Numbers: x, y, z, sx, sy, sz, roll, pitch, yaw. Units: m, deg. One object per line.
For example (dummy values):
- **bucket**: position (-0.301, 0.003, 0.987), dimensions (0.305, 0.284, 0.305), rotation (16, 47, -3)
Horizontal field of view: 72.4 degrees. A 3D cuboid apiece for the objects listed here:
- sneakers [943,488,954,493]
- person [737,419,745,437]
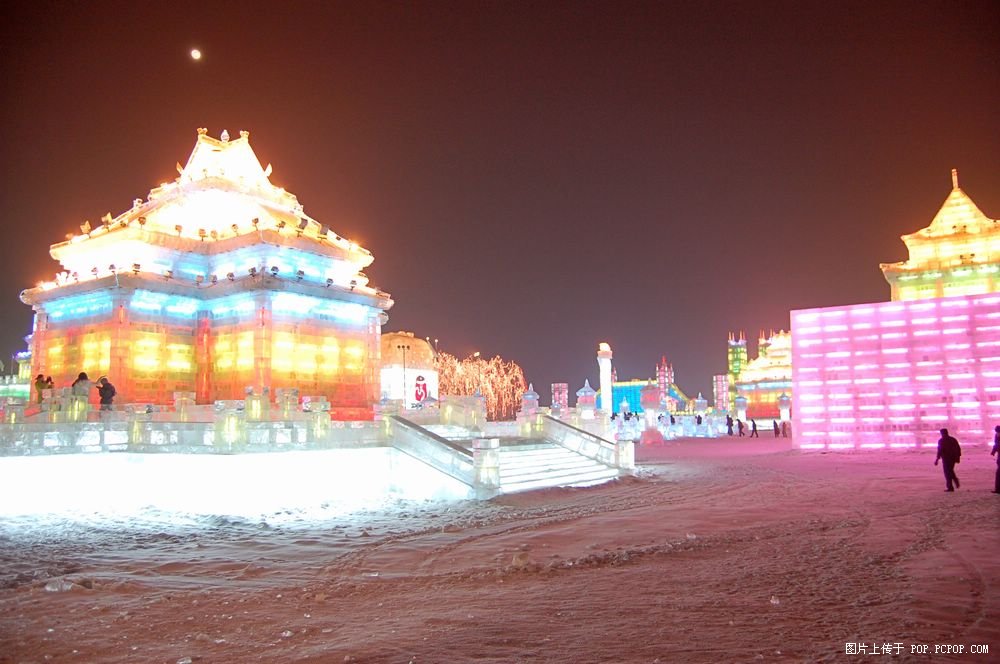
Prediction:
- **sneakers**: position (12.398, 4.339, 18.819), dimensions (0.253, 0.092, 0.382), rotation (-2, -1, 40)
- **person**: position (17.887, 7.072, 50.575), dimensions (0.328, 1.117, 1.170), rotation (-1, 0, 10)
